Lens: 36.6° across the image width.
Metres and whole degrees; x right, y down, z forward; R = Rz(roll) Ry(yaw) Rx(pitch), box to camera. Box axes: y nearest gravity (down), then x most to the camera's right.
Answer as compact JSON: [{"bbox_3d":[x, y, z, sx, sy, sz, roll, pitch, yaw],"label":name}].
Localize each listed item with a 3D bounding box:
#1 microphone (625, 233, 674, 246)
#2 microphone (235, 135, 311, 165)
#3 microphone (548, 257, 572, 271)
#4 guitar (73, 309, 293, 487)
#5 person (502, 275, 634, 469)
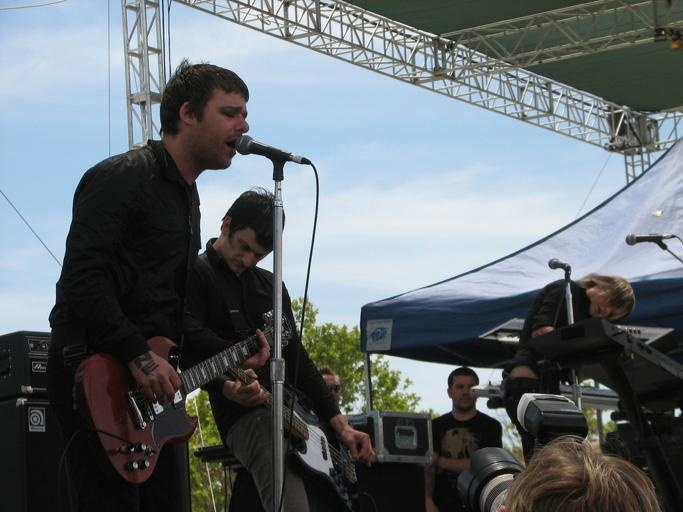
[{"bbox_3d":[2.902,-0.150,9.658,0.558,0.166,0.113,-2,8,-23],"label":"microphone"},{"bbox_3d":[-0.458,-0.669,6.799,0.538,0.144,0.154,14,5,-4],"label":"microphone"},{"bbox_3d":[1.991,0.080,9.265,0.115,0.127,0.329,2,2,-19],"label":"microphone"},{"bbox_3d":[-1.011,0.604,6.229,0.693,1.613,0.253,42,24,16],"label":"guitar"},{"bbox_3d":[1.685,0.760,7.683,0.844,0.725,1.999,0,28,13],"label":"person"}]
